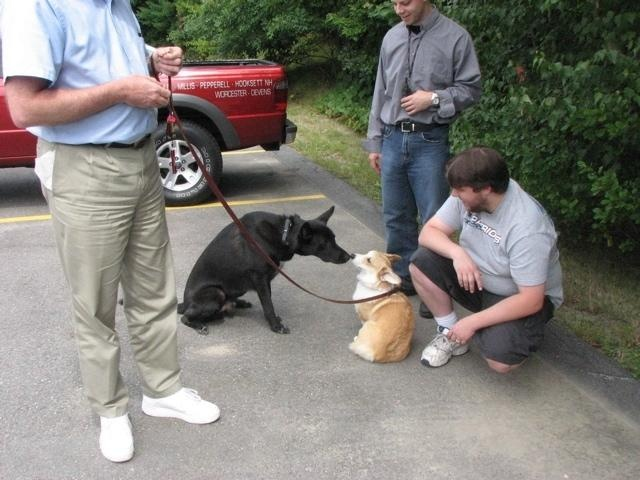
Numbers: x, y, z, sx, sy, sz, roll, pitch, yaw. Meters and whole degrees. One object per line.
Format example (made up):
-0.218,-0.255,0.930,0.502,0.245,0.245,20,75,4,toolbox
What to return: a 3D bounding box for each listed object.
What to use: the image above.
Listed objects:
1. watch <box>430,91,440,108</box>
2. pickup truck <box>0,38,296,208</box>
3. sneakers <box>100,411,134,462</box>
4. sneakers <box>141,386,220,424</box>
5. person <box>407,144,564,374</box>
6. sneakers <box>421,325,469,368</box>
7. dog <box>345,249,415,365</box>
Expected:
0.892,-1.088,3.762,0.060,0.097,0.091,-1,13,6,watch
-2.204,-1.623,6.606,3.356,1.477,1.849,-7,18,-14,pickup truck
-1.165,1.129,2.747,0.124,0.143,0.330,-4,12,-23,sneakers
-0.841,1.035,3.095,0.532,0.218,0.198,5,9,-7,sneakers
1.131,0.201,3.466,0.892,1.450,0.908,-24,40,-1,person
0.913,0.769,3.658,0.428,0.213,0.185,-19,20,-36,sneakers
0.441,0.433,3.615,0.331,0.954,0.452,2,-10,-14,dog
